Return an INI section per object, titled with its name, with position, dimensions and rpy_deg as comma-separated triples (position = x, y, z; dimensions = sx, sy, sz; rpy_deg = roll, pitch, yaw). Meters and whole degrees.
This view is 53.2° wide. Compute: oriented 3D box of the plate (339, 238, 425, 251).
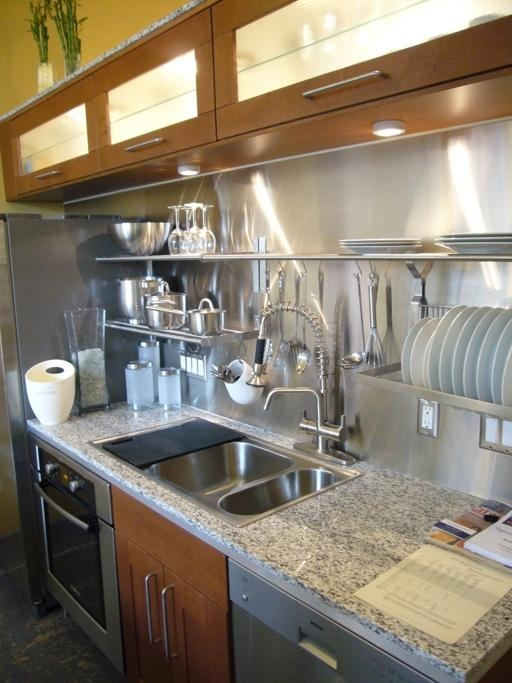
[plate]
position = 0.272, -0.215, 1.145
dimensions = 0.173, 0.035, 0.061
rpy_deg = 2, 7, 36

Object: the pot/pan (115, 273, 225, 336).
[pot/pan]
position = -0.323, -0.144, 1.854
dimensions = 0.199, 0.199, 0.481
rpy_deg = -8, 15, -37

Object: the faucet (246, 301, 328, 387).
[faucet]
position = 0.093, 0.017, 1.569
dimensions = 0.186, 0.268, 0.275
rpy_deg = -9, 9, -44

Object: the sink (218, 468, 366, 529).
[sink]
position = 0.054, 0.421, 1.380
dimensions = 0.310, 0.084, 0.154
rpy_deg = -12, 12, -40

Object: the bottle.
[bottle]
position = -0.439, 0.142, 2.290
dimensions = 0.222, 0.333, 0.307
rpy_deg = 5, 13, 21
